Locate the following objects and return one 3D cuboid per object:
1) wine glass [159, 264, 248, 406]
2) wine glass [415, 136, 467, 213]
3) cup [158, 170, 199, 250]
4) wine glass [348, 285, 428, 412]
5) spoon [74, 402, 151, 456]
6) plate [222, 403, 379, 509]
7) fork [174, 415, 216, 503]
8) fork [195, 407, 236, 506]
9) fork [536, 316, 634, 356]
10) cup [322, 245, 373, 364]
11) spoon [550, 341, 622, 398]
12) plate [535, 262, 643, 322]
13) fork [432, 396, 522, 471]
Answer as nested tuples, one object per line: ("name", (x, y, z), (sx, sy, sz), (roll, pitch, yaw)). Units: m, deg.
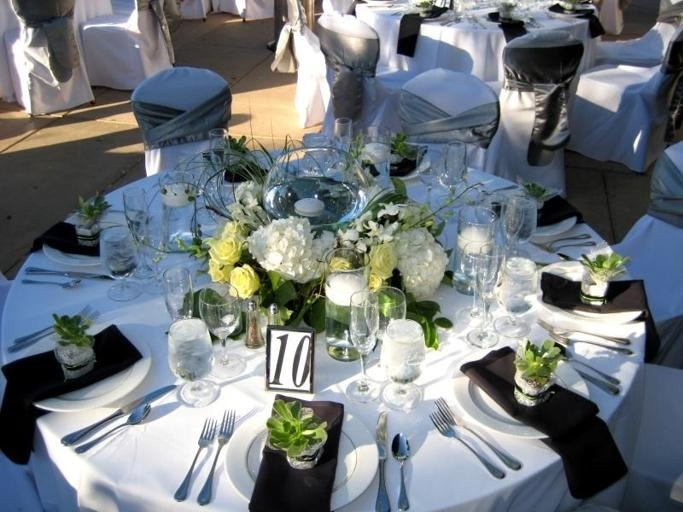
("wine glass", (-0.437, 0.235, 1.594), (0.221, 0.296, 0.326), (-10, 31, -16))
("wine glass", (0.495, -0.405, 2.418), (0.205, 0.289, 0.280), (6, 30, 13))
("cup", (-0.707, -0.193, 2.176), (0.160, 0.353, 0.181), (-2, 17, -21))
("wine glass", (0.139, 0.268, 1.527), (0.228, 0.313, 0.196), (5, 29, 10))
("spoon", (-0.663, 0.506, 1.451), (0.036, 0.029, 0.179), (36, 46, 24))
("plate", (-0.106, 0.549, 1.380), (0.411, 0.083, 0.266), (2, 31, 4))
("fork", (-0.399, 0.557, 1.388), (0.034, 0.034, 0.289), (0, 49, 22))
("fork", (-0.343, 0.553, 1.392), (0.033, 0.031, 0.268), (-17, 39, 27))
("fork", (0.837, 0.277, 1.709), (0.223, 0.040, 0.043), (16, 47, 22))
("cup", (0.043, 0.171, 1.635), (0.111, 0.334, 0.124), (-1, 3, 6))
("spoon", (0.772, 0.365, 1.586), (0.037, 0.033, 0.280), (-44, 37, 2))
("plate", (0.922, 0.145, 1.843), (0.265, 0.068, 0.219), (3, 41, 10))
("fork", (0.391, 0.515, 1.435), (0.035, 0.037, 0.227), (-12, 41, -29))
